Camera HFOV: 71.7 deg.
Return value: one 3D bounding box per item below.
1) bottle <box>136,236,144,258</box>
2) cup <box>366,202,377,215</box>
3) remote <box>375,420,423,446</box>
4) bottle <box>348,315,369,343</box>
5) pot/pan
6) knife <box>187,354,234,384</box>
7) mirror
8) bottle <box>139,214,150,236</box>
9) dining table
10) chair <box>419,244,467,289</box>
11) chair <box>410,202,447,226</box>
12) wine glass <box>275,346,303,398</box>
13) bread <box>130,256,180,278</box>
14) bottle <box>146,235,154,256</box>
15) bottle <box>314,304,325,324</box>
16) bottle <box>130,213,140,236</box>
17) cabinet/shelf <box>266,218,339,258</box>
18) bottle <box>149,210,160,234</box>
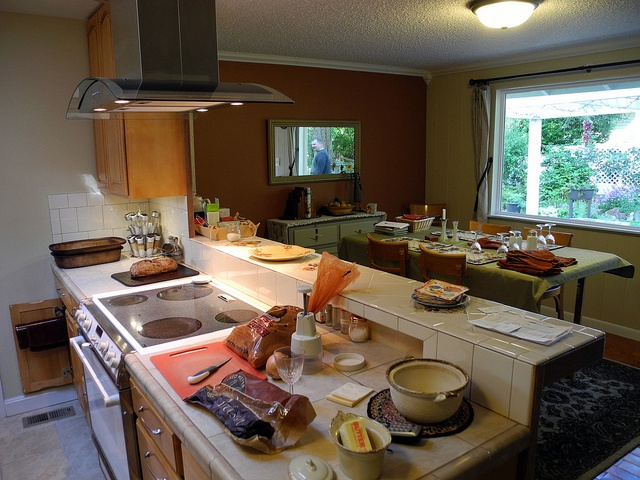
[{"bbox_3d":[-1.455,0.062,3.587,0.059,0.168,0.027,-8,16,-19],"label":"bottle"},{"bbox_3d":[0.664,-0.406,5.724,0.167,0.144,0.100,1,7,9],"label":"cup"},{"bbox_3d":[0.291,0.678,1.551,0.102,0.026,0.072,2,12,15],"label":"remote"},{"bbox_3d":[0.188,0.443,2.200,0.111,0.106,0.112,0,5,10],"label":"bottle"},{"bbox_3d":[0.402,0.549,1.655,0.229,0.114,0.252,-15,23,-35],"label":"pot/pan"},{"bbox_3d":[-0.474,0.556,1.928,0.045,0.023,0.217,10,15,26],"label":"knife"},{"bbox_3d":[-0.129,-1.103,5.461,1.000,0.536,0.040,-7,13,-32],"label":"mirror"},{"bbox_3d":[-1.462,-0.132,3.676,0.069,0.174,0.213,-8,15,-20],"label":"bottle"},{"bbox_3d":[1.553,0.281,4.431,2.530,0.675,2.181,8,16,35],"label":"dining table"},{"bbox_3d":[0.958,0.184,3.595,0.358,0.426,0.305,16,34,33],"label":"chair"},{"bbox_3d":[1.373,-0.340,5.708,0.361,0.344,0.305,2,4,11],"label":"chair"},{"bbox_3d":[-0.127,0.516,1.789,0.111,0.193,0.195,-3,14,-5],"label":"wine glass"},{"bbox_3d":[-1.185,0.195,3.172,0.261,0.078,0.147,-7,12,-37],"label":"bread"},{"bbox_3d":[-1.386,0.056,3.601,0.076,0.168,0.028,-8,16,-21],"label":"bottle"},{"bbox_3d":[-0.003,0.404,2.357,0.057,0.090,0.043,-3,15,-2],"label":"bottle"},{"bbox_3d":[-1.541,-0.137,3.675,0.077,0.161,0.243,-8,15,-22],"label":"bottle"},{"bbox_3d":[-0.228,-0.068,5.283,0.822,0.724,0.454,0,2,-39],"label":"cabinet/shelf"},{"bbox_3d":[-1.388,-0.151,3.698,0.098,0.198,0.242,-7,15,-19],"label":"bottle"}]
